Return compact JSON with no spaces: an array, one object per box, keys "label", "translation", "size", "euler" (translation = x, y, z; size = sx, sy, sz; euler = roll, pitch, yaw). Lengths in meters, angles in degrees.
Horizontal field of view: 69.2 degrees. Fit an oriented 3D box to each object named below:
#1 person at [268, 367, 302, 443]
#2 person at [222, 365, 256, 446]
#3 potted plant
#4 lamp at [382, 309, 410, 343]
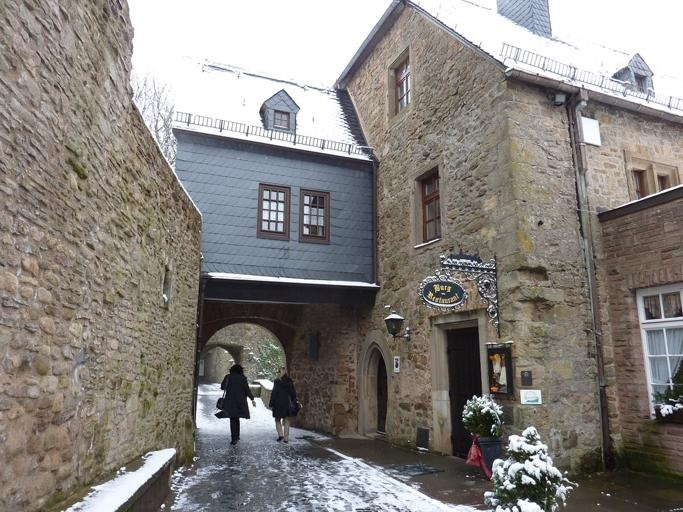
[{"label":"person","translation":[-1.292,3.342,11.290],"size":[0.604,1.573,1.883],"euler":[1,-11,-5]},{"label":"person","translation":[-2.192,3.046,10.294],"size":[0.663,1.565,0.931],"euler":[2,-10,-11]},{"label":"potted plant","translation":[2.052,2.597,7.179],"size":[0.521,1.085,0.341],"euler":[-3,-10,18]},{"label":"lamp","translation":[1.101,1.423,10.341],"size":[0.474,0.669,0.813],"euler":[2,-11,-10]}]
